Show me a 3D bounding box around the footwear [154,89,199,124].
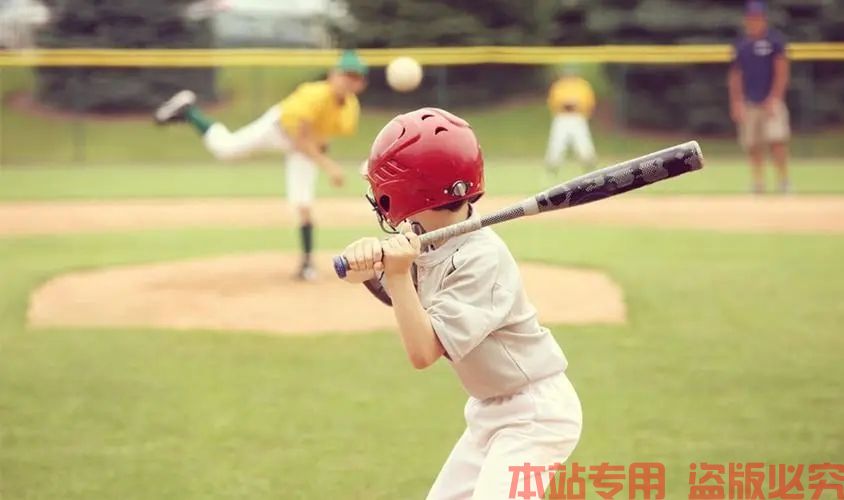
[{"bbox_3d":[-2.677,-1.543,11.651,0.462,0.186,0.279,-34,30,-10],"label":"footwear"}]
